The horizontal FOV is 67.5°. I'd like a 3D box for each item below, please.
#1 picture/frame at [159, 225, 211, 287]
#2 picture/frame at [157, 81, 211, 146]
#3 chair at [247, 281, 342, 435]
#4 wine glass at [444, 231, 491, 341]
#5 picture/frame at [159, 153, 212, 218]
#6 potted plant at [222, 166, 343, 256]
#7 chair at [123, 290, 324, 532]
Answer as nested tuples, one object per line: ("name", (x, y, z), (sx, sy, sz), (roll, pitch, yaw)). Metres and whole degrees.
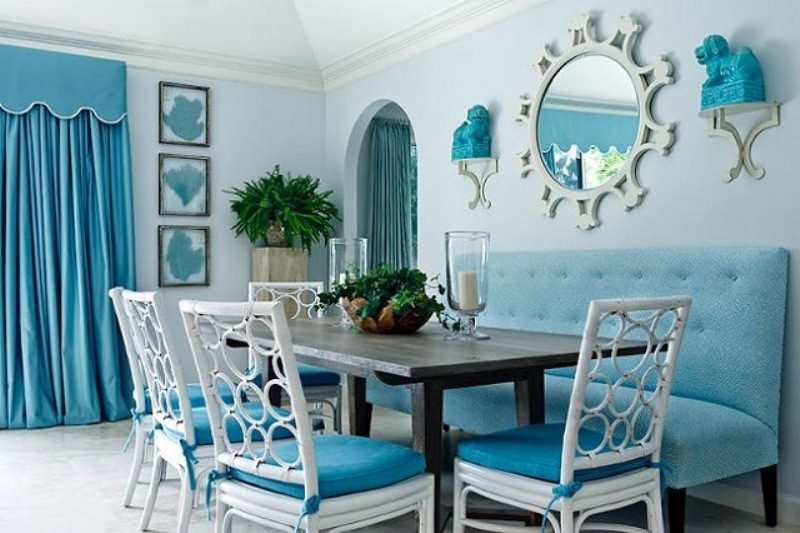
("picture/frame", (-1.935, -0.083, 5.302), (0.526, 0.653, 0.043), (2, -4, -34))
("picture/frame", (-1.939, -1.341, 5.297), (0.594, 0.736, 0.048), (1, -3, -34))
("chair", (-0.595, 0.747, 3.936), (0.471, 0.813, 0.437), (7, -13, -8))
("wine glass", (0.328, 0.098, 2.841), (0.226, 0.497, 0.226), (1, 0, 17))
("picture/frame", (-1.931, -0.714, 5.302), (0.582, 0.719, 0.051), (1, -2, -34))
("potted plant", (-1.085, -0.530, 5.585), (0.983, 0.760, 1.037), (-1, 2, -21))
("chair", (-0.958, 0.608, 3.487), (1.180, 1.718, 1.068), (0, 2, -29))
